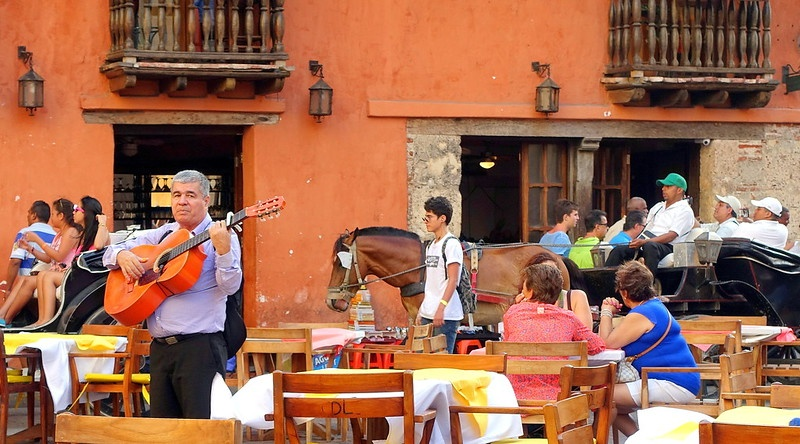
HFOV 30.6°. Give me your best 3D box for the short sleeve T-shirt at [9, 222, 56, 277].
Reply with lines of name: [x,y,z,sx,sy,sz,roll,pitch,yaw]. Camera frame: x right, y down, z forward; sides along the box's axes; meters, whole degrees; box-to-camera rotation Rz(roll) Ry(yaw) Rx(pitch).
short sleeve T-shirt: [-5.905,0.529,24.613,0.951,0.872,0.500,10,-8,5]

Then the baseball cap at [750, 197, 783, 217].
baseball cap: [6.433,-0.331,25.661,0.511,0.184,0.327,19,6,9]

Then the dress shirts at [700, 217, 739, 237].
dress shirts: [5.646,0.063,25.699,0.742,0.288,0.350,-6,16,-38]

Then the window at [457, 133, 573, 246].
window: [2.329,-0.775,29.109,2.340,2.504,0.198,0,5,3]

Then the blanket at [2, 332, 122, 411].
blanket: [-4.771,1.978,21.448,1.668,0.745,1.201,1,1,-24]

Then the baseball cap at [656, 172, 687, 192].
baseball cap: [4.684,-0.752,25.178,0.513,0.236,0.344,4,-5,2]

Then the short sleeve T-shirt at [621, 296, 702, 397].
short sleeve T-shirt: [3.904,1.965,21.556,1.073,1.444,0.937,-6,-17,-29]

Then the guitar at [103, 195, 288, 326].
guitar: [-3.045,0.582,19.824,3.192,1.167,0.428,-28,-35,11]

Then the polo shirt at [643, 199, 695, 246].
polo shirt: [4.571,-0.005,24.838,0.393,0.665,0.693,28,-4,-28]

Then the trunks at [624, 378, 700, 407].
trunks: [3.723,2.433,20.971,0.727,0.232,0.398,4,-5,0]

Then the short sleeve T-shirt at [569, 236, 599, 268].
short sleeve T-shirt: [3.125,0.493,24.773,0.366,0.599,0.548,-1,3,-39]

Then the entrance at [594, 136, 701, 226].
entrance: [4.932,-1.157,29.279,1.654,2.180,2.253,-4,-1,40]

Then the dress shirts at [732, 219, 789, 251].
dress shirts: [6.275,0.161,25.609,0.765,0.304,0.579,7,2,26]

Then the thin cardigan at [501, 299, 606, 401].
thin cardigan: [2.296,1.873,21.109,1.621,1.841,1.352,0,2,11]

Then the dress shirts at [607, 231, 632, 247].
dress shirts: [3.769,0.257,24.868,0.341,0.314,0.239,-13,30,-30]

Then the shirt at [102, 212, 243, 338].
shirt: [-2.709,0.950,19.691,2.350,1.127,0.344,-25,-20,17]
